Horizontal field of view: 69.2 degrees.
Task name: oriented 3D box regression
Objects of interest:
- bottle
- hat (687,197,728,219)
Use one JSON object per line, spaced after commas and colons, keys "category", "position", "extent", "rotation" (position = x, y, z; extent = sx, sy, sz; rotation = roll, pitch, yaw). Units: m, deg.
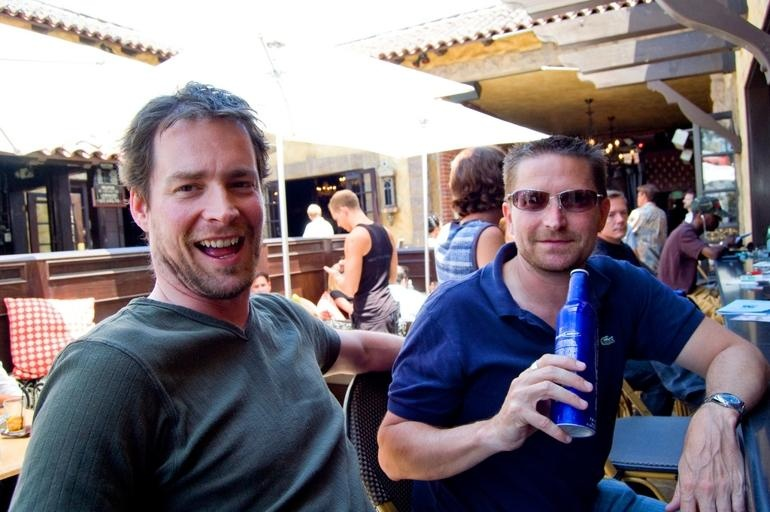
{"category": "bottle", "position": [0.635, 0.368, 1.868], "extent": [0.141, 0.627, 0.322], "rotation": [-2, 4, 22]}
{"category": "hat", "position": [4.524, -0.663, 7.629], "extent": [0.607, 0.290, 0.388], "rotation": [8, 9, 14]}
